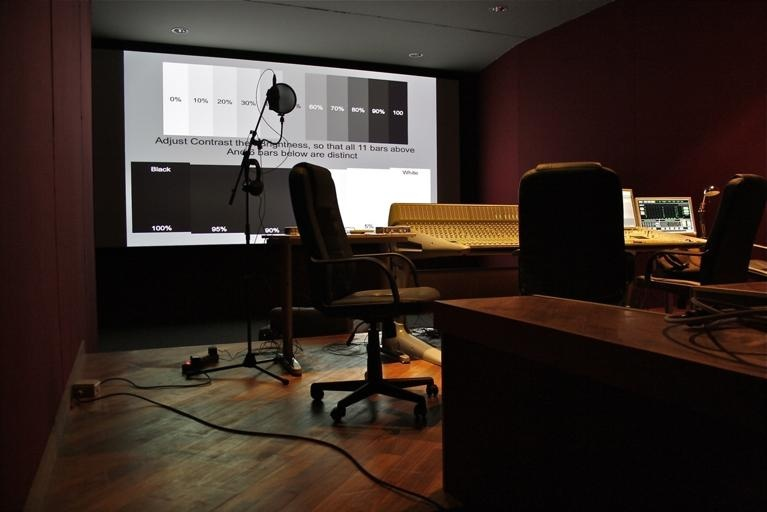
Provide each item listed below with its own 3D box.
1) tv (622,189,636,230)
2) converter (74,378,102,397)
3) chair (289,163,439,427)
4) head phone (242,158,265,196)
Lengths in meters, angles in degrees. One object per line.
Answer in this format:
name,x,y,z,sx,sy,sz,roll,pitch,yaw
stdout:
tv,1.975,-0.383,4.461,0.168,0.319,0.031,-2,-7,-28
converter,-1.758,0.773,3.222,0.094,0.063,0.096,0,2,-6
chair,-0.085,0.179,3.163,0.769,1.368,0.778,0,2,12
head phone,-0.890,-0.546,3.704,0.095,0.234,0.243,-1,9,-37
